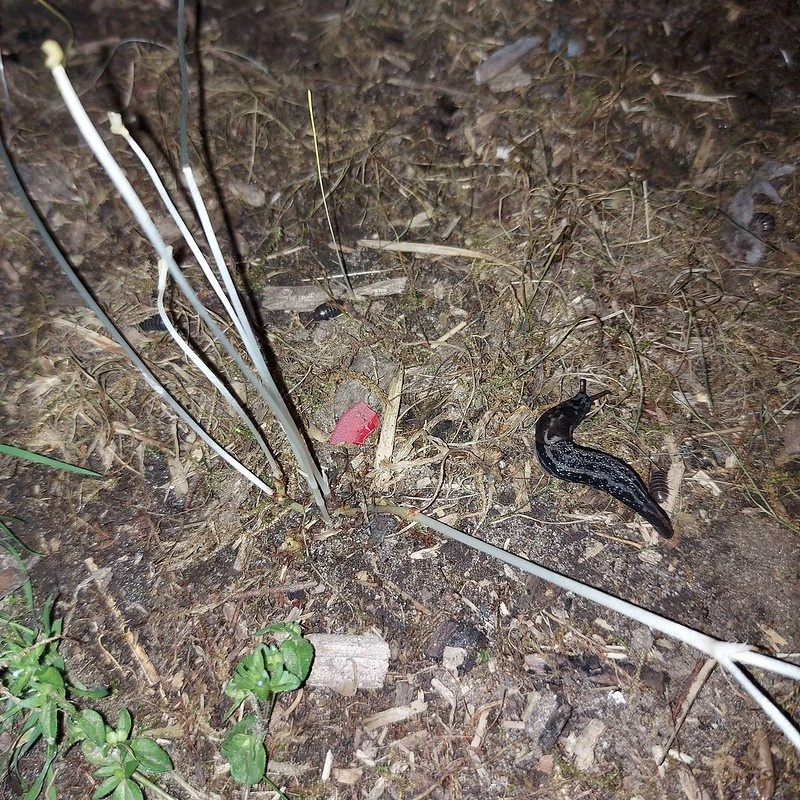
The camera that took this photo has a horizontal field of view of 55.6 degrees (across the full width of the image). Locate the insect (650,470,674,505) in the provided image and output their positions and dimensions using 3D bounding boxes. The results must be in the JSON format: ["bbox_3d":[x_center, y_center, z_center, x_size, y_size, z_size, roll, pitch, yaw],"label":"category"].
[{"bbox_3d":[0.966,0.319,2.824,0.091,0.044,0.145,-17,52,33],"label":"insect"}]
